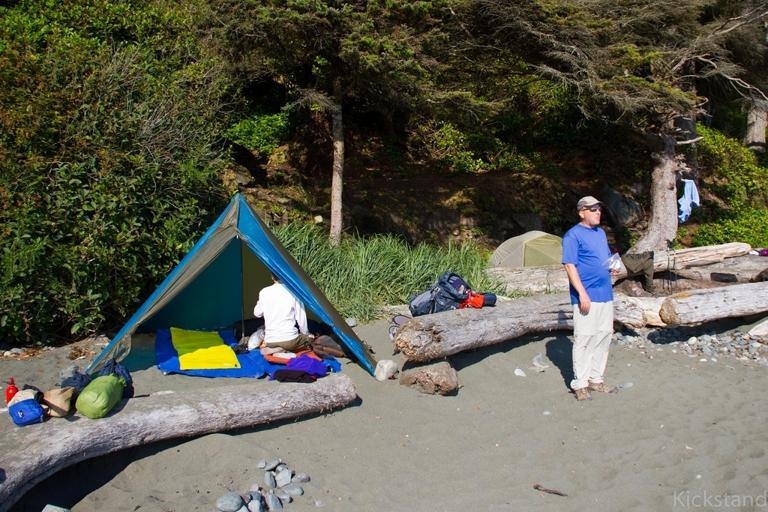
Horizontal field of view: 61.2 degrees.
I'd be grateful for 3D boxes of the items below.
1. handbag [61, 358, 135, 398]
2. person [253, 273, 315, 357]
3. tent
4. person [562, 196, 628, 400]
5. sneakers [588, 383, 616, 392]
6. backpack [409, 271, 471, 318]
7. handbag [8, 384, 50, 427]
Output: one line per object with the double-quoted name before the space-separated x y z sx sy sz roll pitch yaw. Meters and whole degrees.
"handbag" -4.068 1.731 9.208 0.786 0.333 0.547 16 -6 -39
"person" -1.755 0.889 10.903 1.057 1.449 1.129 -5 -12 17
"tent" -2.568 0.448 10.677 3.620 2.835 1.926 -12 27 0
"person" 3.132 0.774 9.779 0.794 3.052 1.355 2 30 27
"sneakers" 3.365 2.022 10.074 0.482 0.188 0.170 -2 8 8
"backpack" 0.968 0.681 11.235 0.919 0.392 0.700 -27 49 2
"handbag" -4.774 2.010 8.672 0.458 0.335 0.521 -28 31 -29
